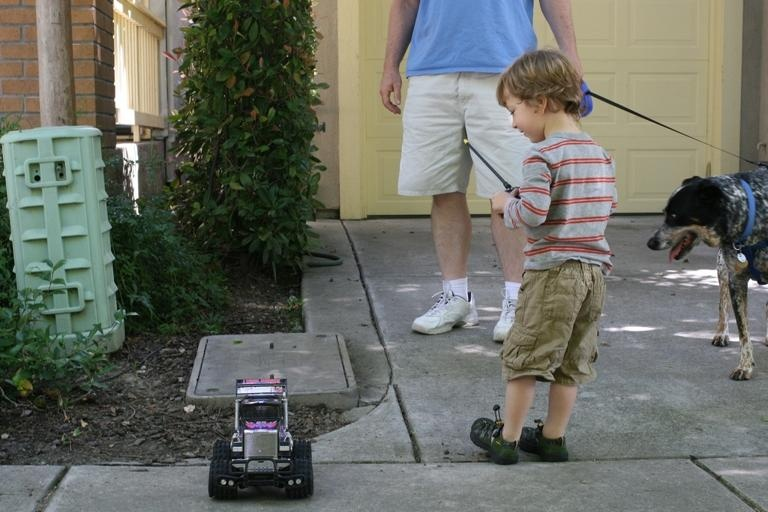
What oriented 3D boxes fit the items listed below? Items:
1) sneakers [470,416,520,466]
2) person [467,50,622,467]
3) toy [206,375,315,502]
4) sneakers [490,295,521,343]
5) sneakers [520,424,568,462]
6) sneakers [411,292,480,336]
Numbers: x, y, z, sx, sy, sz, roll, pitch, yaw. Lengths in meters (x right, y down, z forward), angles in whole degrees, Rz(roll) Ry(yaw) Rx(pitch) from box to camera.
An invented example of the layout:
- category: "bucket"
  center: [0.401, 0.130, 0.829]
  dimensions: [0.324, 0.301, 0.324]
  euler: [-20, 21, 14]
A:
- category: "sneakers"
  center: [0.468, 0.748, 2.792]
  dimensions: [0.148, 0.125, 0.277]
  euler: [-1, 21, -20]
- category: "person"
  center: [0.650, 0.003, 2.720]
  dimensions: [0.497, 1.665, 0.544]
  euler: [4, 15, 25]
- category: "toy"
  center: [-0.482, 0.685, 2.614]
  dimensions: [0.386, 0.334, 0.658]
  euler: [1, 0, -11]
- category: "sneakers"
  center: [0.672, 0.371, 3.850]
  dimensions: [0.145, 0.153, 0.391]
  euler: [0, 6, 4]
- category: "sneakers"
  center: [0.665, 0.772, 2.822]
  dimensions: [0.136, 0.126, 0.284]
  euler: [0, 2, -25]
- category: "sneakers"
  center: [0.379, 0.333, 4.119]
  dimensions: [0.197, 0.237, 0.561]
  euler: [10, 12, 41]
